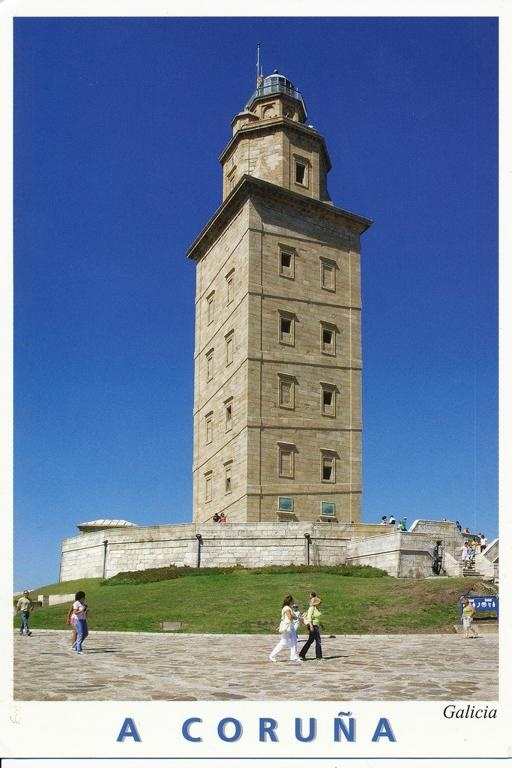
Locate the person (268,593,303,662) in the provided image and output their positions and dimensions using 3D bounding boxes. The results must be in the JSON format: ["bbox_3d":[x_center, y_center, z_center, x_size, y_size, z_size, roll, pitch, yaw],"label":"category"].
[{"bbox_3d":[0.535,4.358,14.734,0.484,1.142,0.333,0,3,-15],"label":"person"}]

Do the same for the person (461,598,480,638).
[{"bbox_3d":[4.889,5.354,18.839,0.335,0.844,1.320,-2,-12,14],"label":"person"}]

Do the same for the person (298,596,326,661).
[{"bbox_3d":[1.032,4.518,15.197,0.404,1.124,0.406,-7,-13,36],"label":"person"}]

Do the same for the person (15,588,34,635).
[{"bbox_3d":[-5.867,5.791,20.835,0.353,1.031,2.068,4,-13,-15],"label":"person"}]

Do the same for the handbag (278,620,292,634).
[{"bbox_3d":[0.475,4.382,14.729,0.199,0.199,0.321,9,-14,-34],"label":"handbag"}]

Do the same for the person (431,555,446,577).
[{"bbox_3d":[6.470,6.308,29.220,0.499,0.942,0.551,0,-11,5],"label":"person"}]

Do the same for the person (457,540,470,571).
[{"bbox_3d":[7.347,6.120,28.928,0.380,0.826,1.222,-2,-12,14],"label":"person"}]
